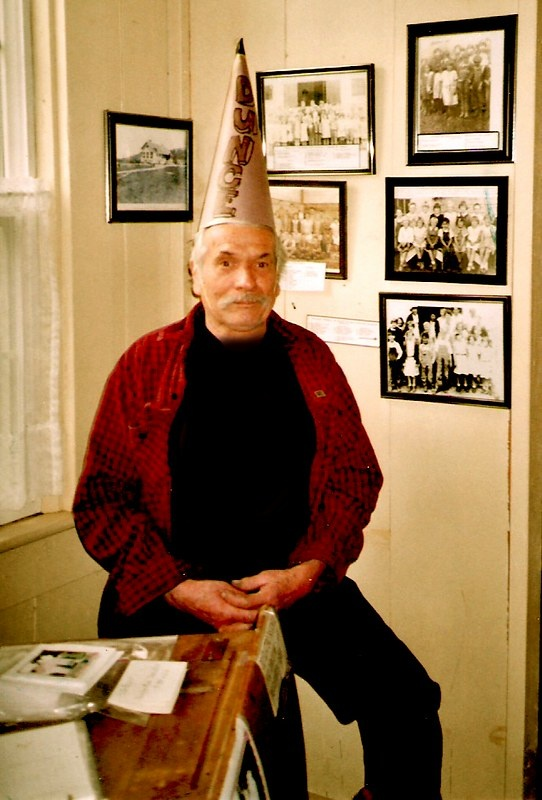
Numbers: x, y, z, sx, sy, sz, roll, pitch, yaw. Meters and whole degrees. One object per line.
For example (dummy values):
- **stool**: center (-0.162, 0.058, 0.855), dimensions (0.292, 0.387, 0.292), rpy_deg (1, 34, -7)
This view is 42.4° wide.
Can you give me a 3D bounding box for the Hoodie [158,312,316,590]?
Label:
- **Hoodie**: center (-0.041, 0.098, 1.215), dimensions (0.248, 0.432, 0.142), rpy_deg (6, -13, -21)
